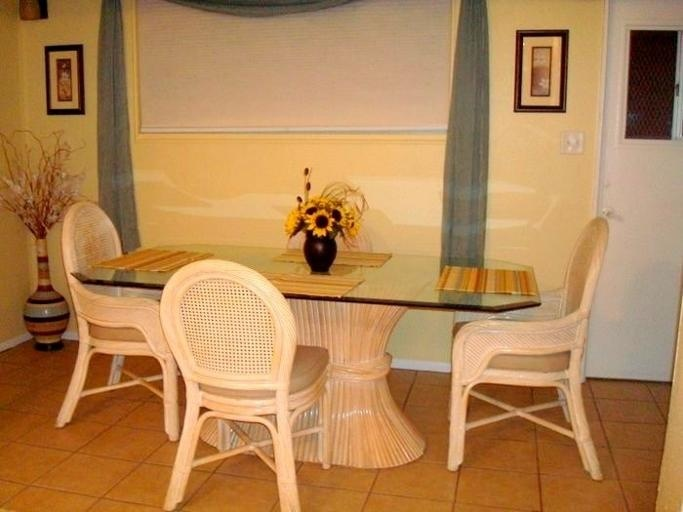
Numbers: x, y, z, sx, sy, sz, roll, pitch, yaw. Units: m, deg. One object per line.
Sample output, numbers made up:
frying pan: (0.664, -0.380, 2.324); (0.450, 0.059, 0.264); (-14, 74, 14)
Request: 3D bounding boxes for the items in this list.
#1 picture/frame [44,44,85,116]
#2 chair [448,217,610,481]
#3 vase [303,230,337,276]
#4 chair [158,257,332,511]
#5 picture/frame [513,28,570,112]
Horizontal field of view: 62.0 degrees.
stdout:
picture/frame: (-2.023, -1.284, 4.142); (0.337, 0.491, 0.109); (5, 20, 12)
chair: (0.963, 0.411, 2.872); (0.764, 1.207, 0.829); (5, 19, 13)
vase: (-0.114, -0.028, 2.986); (0.191, 0.216, 0.193); (11, 15, 43)
chair: (-0.427, 0.532, 2.440); (0.616, 1.136, 0.465); (4, 20, 11)
picture/frame: (1.234, -1.139, 3.532); (0.024, 0.501, 0.344); (-27, 32, -32)
